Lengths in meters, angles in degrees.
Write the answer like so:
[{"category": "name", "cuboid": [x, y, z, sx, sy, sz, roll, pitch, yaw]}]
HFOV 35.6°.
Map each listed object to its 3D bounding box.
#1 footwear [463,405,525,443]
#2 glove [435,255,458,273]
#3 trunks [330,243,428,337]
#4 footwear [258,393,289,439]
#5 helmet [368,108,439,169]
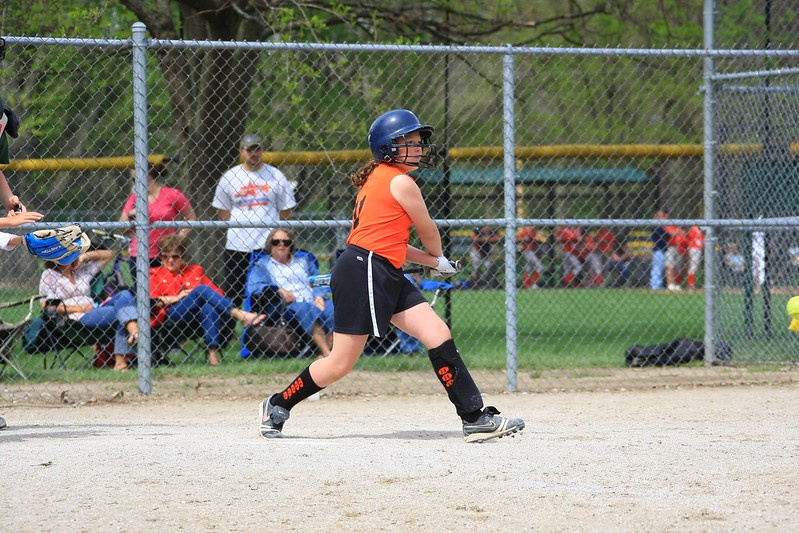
[{"category": "footwear", "cuboid": [0.853, 1.516, 11.880, 0.743, 0.377, 0.241, -11, -4, -1]}, {"category": "glove", "cuboid": [0.450, -0.003, 11.924, 0.101, 0.115, 0.281, 0, 3, 25]}, {"category": "trunks", "cuboid": [-0.316, 0.269, 11.662, 0.736, 0.911, 1.420, -9, -7, 33]}, {"category": "footwear", "cuboid": [-1.214, 1.464, 11.786, 0.239, 0.172, 0.512, -30, 39, 5]}, {"category": "helmet", "cuboid": [-0.036, -1.231, 11.790, 0.638, 0.490, 0.456, -1, 8, 14]}]
